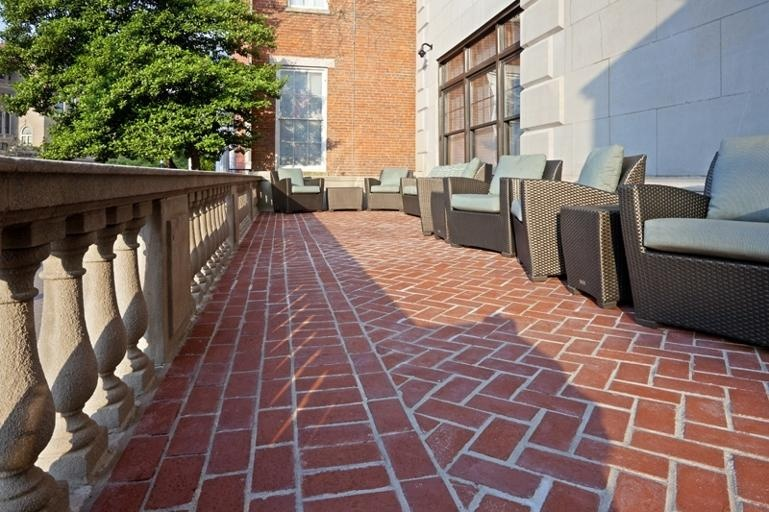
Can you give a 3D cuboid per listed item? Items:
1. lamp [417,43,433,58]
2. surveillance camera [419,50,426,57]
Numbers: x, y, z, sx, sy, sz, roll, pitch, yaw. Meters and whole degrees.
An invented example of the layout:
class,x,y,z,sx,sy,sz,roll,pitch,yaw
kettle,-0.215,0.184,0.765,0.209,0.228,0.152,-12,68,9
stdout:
class,x,y,z,sx,sy,sz,roll,pitch,yaw
lamp,0.857,-4.447,11.386,0.251,0.134,0.346,2,7,-8
surveillance camera,0.796,-4.402,11.466,0.133,0.038,0.148,8,6,2
